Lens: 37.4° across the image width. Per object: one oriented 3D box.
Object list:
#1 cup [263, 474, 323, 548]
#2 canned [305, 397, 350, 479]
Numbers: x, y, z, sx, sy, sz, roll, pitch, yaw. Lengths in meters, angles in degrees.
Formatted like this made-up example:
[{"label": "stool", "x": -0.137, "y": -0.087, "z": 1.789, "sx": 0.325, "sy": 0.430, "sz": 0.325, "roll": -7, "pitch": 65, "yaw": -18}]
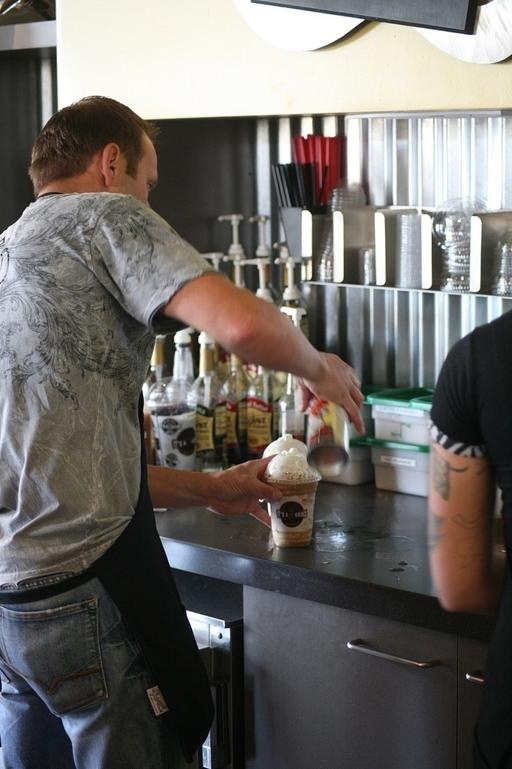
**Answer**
[{"label": "cup", "x": 0.073, "y": 0.232, "z": 1.470, "sx": 0.082, "sy": 0.134, "sz": 0.144, "roll": 2, "pitch": 13, "yaw": 21}, {"label": "canned", "x": 0.112, "y": 0.081, "z": 1.191, "sx": 0.066, "sy": 0.119, "sz": 0.059, "roll": -4, "pitch": 13, "yaw": -1}]
